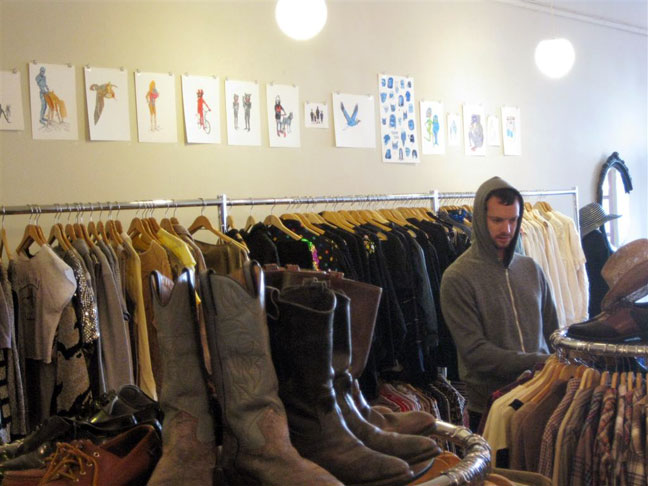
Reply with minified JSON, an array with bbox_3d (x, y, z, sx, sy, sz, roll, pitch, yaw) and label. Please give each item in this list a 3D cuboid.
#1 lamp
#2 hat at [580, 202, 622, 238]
[{"bbox_3d":[1.879,-1.508,4.317,0.319,0.303,0.207,-1,4,6],"label":"lamp"},{"bbox_3d":[2.426,-0.203,4.732,0.262,0.299,0.344,0,4,22],"label":"hat"}]
